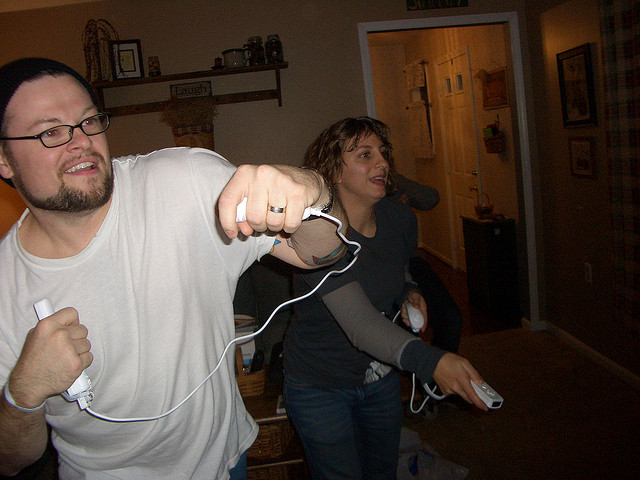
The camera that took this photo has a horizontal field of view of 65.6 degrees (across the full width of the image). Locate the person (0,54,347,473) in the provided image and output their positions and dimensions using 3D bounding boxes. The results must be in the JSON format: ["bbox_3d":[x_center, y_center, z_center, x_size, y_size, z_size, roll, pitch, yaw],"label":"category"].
[{"bbox_3d":[-0.507,0.135,1.521,1.008,1.408,0.427,-5,13,3],"label":"person"}]

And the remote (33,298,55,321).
[{"bbox_3d":[-0.783,0.200,1.413,0.046,0.055,0.056,-14,16,-30],"label":"remote"}]

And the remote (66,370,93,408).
[{"bbox_3d":[-0.727,0.461,1.508,0.053,0.087,0.147,-43,15,-21],"label":"remote"}]

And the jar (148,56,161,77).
[{"bbox_3d":[-1.316,-1.393,3.944,0.096,0.165,0.115,-10,14,-17],"label":"jar"}]

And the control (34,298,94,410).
[{"bbox_3d":[-0.729,0.316,1.416,0.077,0.323,0.099,-29,9,-13],"label":"control"}]

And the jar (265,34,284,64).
[{"bbox_3d":[-0.366,-1.537,3.952,0.134,0.214,0.087,-7,13,-6],"label":"jar"}]

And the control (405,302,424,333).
[{"bbox_3d":[0.410,0.337,2.156,0.054,0.121,0.028,-4,-29,-20],"label":"control"}]

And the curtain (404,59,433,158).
[{"bbox_3d":[1.289,-1.508,6.459,0.037,0.711,0.510,-11,12,-21],"label":"curtain"}]

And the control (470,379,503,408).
[{"bbox_3d":[0.560,0.525,1.671,0.061,0.043,0.116,-21,38,-12],"label":"control"}]
